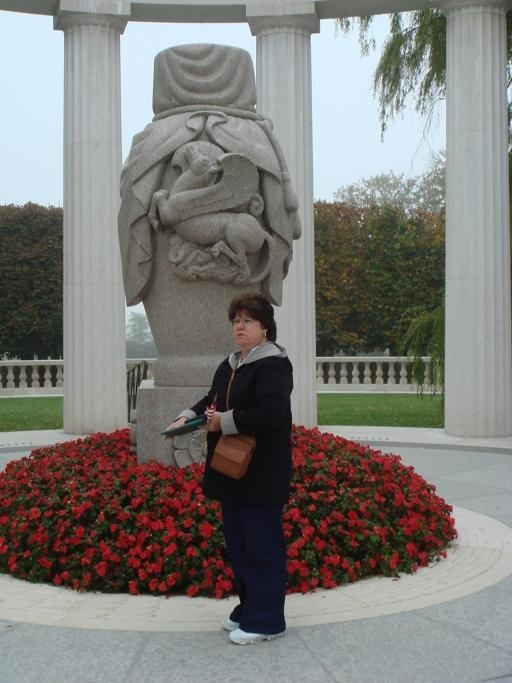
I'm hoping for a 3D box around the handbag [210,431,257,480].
[{"bbox_3d":[-0.099,0.534,4.221,0.164,0.231,0.096,17,-8,30],"label":"handbag"}]

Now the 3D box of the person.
[{"bbox_3d":[-0.094,0.589,4.408,0.559,1.630,0.448,0,3,14],"label":"person"}]

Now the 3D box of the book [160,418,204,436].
[{"bbox_3d":[-0.347,0.406,4.319,0.201,0.107,0.179,-1,3,-4],"label":"book"}]

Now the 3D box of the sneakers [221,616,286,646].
[{"bbox_3d":[-0.017,1.360,4.288,0.281,0.137,0.105,-4,2,7],"label":"sneakers"}]
